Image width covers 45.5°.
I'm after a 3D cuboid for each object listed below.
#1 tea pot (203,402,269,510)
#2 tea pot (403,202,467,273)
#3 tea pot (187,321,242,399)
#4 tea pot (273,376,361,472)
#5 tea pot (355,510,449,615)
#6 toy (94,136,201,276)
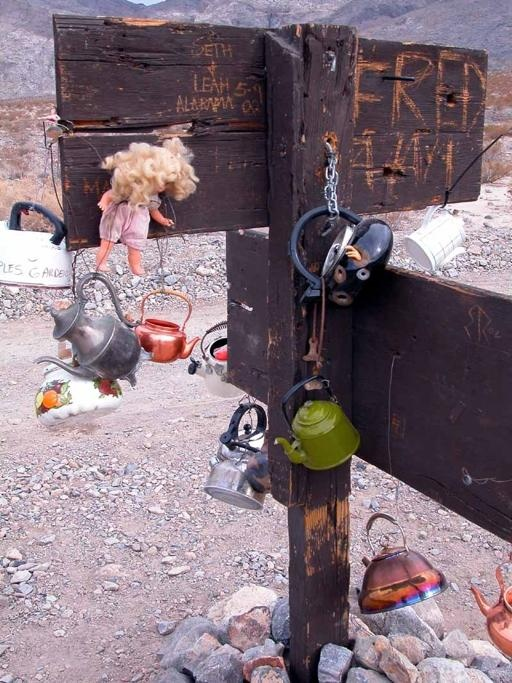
[{"bbox_3d":[-0.055,0.363,1.916,0.200,0.354,0.388,3,15,1],"label":"tea pot"},{"bbox_3d":[0.580,-0.324,1.991,0.170,0.218,0.355,9,15,22],"label":"tea pot"},{"bbox_3d":[-0.145,0.069,2.401,0.190,0.301,0.436,3,14,-1],"label":"tea pot"},{"bbox_3d":[0.161,0.219,1.474,0.169,0.148,0.176,3,14,-1],"label":"tea pot"},{"bbox_3d":[0.381,0.610,1.735,0.251,0.237,0.260,-17,-12,-4],"label":"tea pot"},{"bbox_3d":[-0.233,-0.286,1.307,0.213,0.293,0.166,0,15,-10],"label":"toy"}]
